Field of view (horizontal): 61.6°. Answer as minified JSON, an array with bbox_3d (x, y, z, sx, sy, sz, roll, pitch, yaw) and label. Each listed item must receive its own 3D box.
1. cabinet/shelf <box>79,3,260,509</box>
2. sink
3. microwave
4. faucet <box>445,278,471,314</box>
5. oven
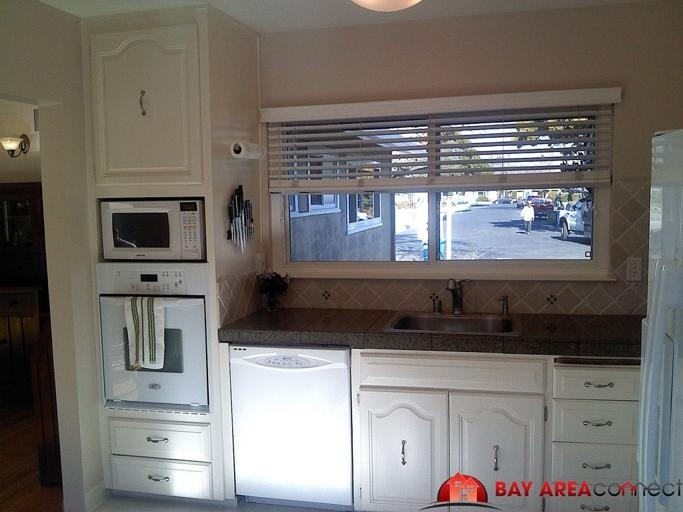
[{"bbox_3d":[-1.062,0.030,3.750,1.071,3.149,0.563,-2,4,-25],"label":"cabinet/shelf"},{"bbox_3d":[0.747,0.455,3.831,0.769,0.116,0.237,0,4,7],"label":"sink"},{"bbox_3d":[-1.240,-0.170,3.823,0.627,0.402,0.368,-2,6,-13],"label":"microwave"},{"bbox_3d":[0.808,0.266,3.923,0.227,0.272,0.129,-1,-2,26],"label":"faucet"},{"bbox_3d":[-1.179,0.634,3.940,0.778,0.764,0.597,-1,2,13],"label":"oven"}]
